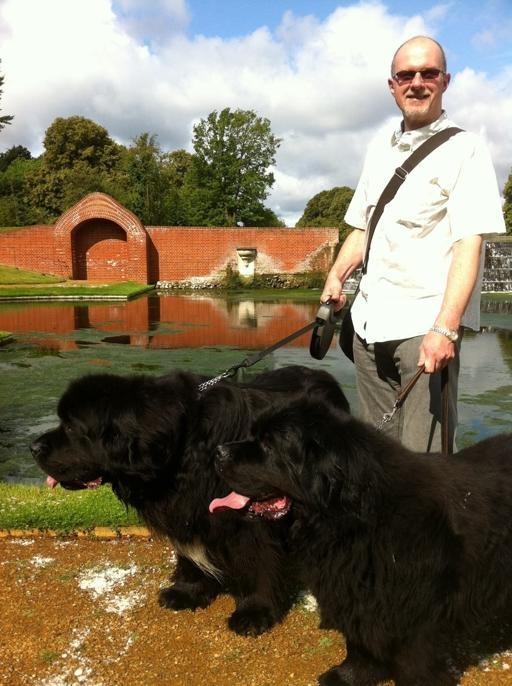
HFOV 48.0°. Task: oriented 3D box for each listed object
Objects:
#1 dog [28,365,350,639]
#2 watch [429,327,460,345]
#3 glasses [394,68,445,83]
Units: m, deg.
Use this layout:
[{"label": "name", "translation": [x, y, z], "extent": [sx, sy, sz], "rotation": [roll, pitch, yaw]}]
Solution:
[{"label": "dog", "translation": [-0.053, 0.694, 2.781], "extent": [1.810, 1.087, 0.660], "rotation": [-4, -8, -27]}, {"label": "watch", "translation": [0.772, -0.042, 2.366], "extent": [0.106, 0.060, 0.095], "rotation": [24, -22, -23]}, {"label": "glasses", "translation": [0.752, -1.226, 2.652], "extent": [0.217, 0.058, 0.069], "rotation": [2, 8, 13]}]
